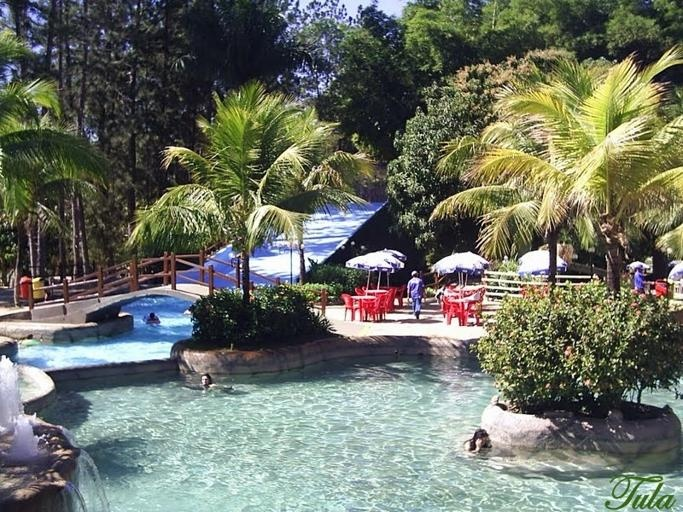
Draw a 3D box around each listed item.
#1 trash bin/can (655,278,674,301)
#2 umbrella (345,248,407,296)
[{"bbox_3d":[12.604,1.349,30.295,0.635,1.159,0.883,-1,-3,15],"label":"trash bin/can"},{"bbox_3d":[1.511,0.535,30.532,1.664,1.551,1.775,0,-2,25],"label":"umbrella"}]
